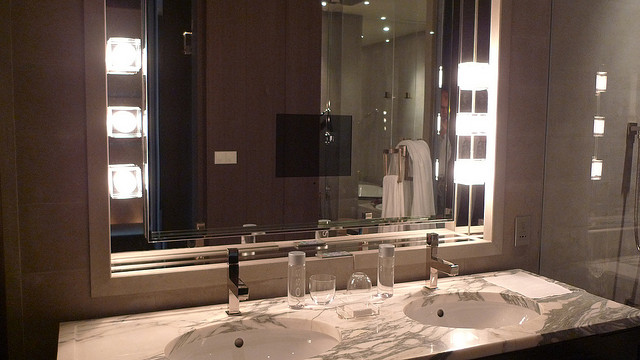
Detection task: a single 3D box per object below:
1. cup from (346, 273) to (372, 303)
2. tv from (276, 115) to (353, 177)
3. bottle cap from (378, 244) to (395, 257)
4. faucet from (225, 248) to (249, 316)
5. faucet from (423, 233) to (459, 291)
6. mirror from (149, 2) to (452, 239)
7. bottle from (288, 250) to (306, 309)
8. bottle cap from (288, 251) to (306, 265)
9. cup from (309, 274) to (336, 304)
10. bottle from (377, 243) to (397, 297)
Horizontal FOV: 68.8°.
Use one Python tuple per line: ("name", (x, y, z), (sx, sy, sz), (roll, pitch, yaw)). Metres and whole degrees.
("cup", (0.217, 0.593, 2.492), (0.174, 0.177, 0.168), (1, -19, 0))
("tv", (-0.035, -0.173, 2.543), (0.616, 0.403, 0.008), (-3, 6, -43))
("bottle cap", (0.358, 0.376, 2.507), (0.069, 0.039, 0.067), (2, 0, 24))
("faucet", (-0.432, 0.512, 2.331), (0.108, 0.332, 0.144), (-6, 6, -17))
("faucet", (0.650, 0.460, 2.601), (0.160, 0.304, 0.208), (-6, 6, -11))
("mirror", (-0.167, -0.339, 2.509), (1.514, 1.367, 0.070), (-1, 3, -18))
("bottle", (-0.125, 0.519, 2.420), (0.110, 0.289, 0.068), (-7, 6, -25))
("bottle cap", (-0.120, 0.402, 2.402), (0.070, 0.039, 0.067), (1, 1, -28))
("cup", (0.011, 0.556, 2.400), (0.155, 0.120, 0.130), (3, -5, -11))
("bottle", (0.375, 0.489, 2.562), (0.090, 0.290, 0.158), (0, 7, 38))
